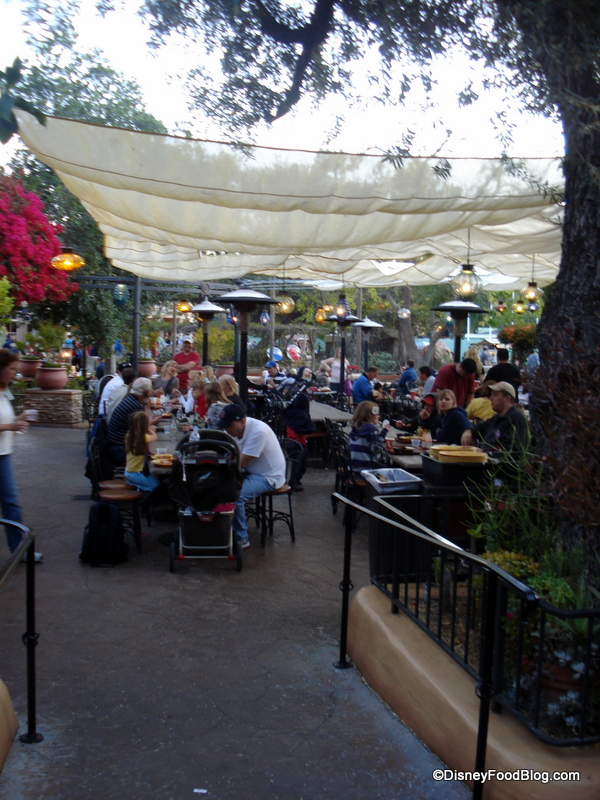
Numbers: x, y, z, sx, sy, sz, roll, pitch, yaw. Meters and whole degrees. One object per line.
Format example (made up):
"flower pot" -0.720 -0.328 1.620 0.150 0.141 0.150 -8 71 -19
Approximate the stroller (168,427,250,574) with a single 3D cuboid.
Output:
"stroller" -0.805 0.888 5.700 0.643 1.174 0.862 2 0 -9

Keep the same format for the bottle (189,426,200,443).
"bottle" -0.983 0.323 6.036 0.090 0.111 0.182 4 46 -3

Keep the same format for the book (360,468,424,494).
"book" 0.750 0.636 5.086 0.428 0.138 0.474 -1 4 -13

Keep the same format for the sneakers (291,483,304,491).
"sneakers" -0.045 1.249 9.282 0.068 0.136 0.202 13 19 38

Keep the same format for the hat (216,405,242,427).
"hat" -0.658 0.140 6.056 0.232 0.130 0.163 -30 28 -25

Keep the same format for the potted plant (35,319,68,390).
"potted plant" -6.759 -1.228 17.343 1.008 1.894 0.881 1 4 -27

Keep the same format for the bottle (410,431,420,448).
"bottle" 1.403 0.481 7.787 0.131 0.229 0.127 2 12 0

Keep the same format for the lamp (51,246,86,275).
"lamp" -3.526 -2.157 9.817 0.383 0.400 0.715 2 -1 -15

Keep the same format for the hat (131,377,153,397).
"hat" -1.869 -0.123 7.493 0.190 0.240 0.243 7 33 15

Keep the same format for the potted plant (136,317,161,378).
"potted plant" -6.764 -2.117 29.764 0.927 2.122 0.872 -7 12 -42
